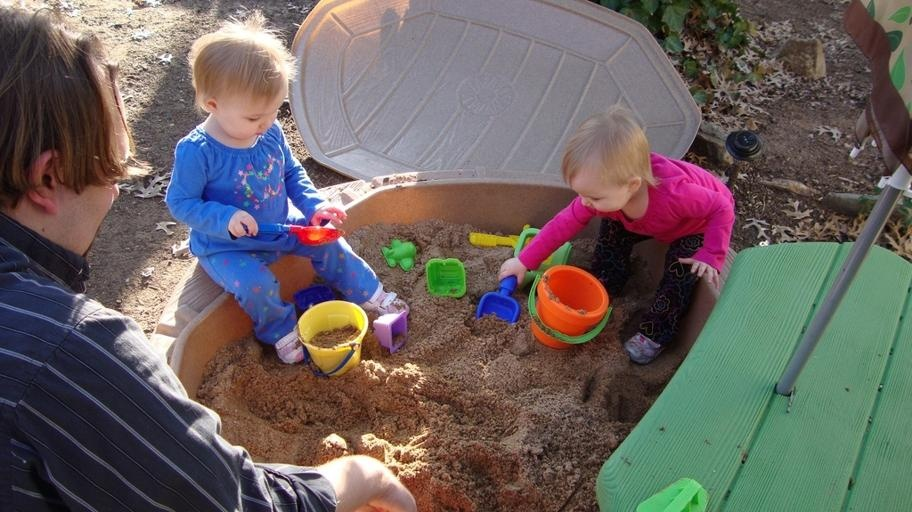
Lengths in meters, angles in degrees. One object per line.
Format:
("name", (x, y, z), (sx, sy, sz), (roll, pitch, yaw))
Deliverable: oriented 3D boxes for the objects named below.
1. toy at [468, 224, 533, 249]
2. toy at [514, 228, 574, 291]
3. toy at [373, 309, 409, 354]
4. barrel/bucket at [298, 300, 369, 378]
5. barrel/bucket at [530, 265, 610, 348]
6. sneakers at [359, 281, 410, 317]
("toy", (0.277, -0.120, 4.918), (0.399, 0.097, 0.158), (0, 14, -5))
("toy", (0.543, -0.005, 4.902), (0.313, 0.392, 0.291), (-8, 1, 1))
("toy", (-0.361, 0.417, 4.515), (0.205, 0.259, 0.207), (5, 16, 26))
("barrel/bucket", (-0.686, 0.504, 4.456), (0.394, 0.300, 0.402), (-1, 61, 2))
("barrel/bucket", (0.648, 0.341, 4.485), (0.450, 0.346, 0.472), (11, 60, -19))
("sneakers", (-0.419, 0.284, 4.628), (0.351, 0.131, 0.153), (17, -4, 11))
